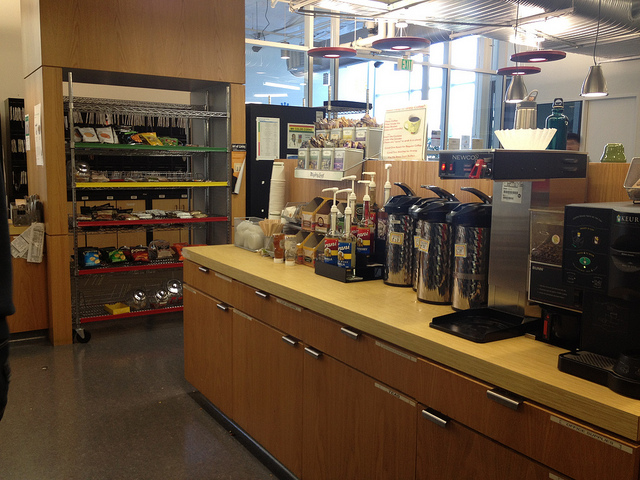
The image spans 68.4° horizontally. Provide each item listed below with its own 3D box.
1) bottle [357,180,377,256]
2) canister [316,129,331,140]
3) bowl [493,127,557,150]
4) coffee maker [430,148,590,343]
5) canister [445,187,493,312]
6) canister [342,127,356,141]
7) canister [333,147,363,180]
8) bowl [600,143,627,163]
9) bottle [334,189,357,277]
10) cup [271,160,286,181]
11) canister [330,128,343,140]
[{"bbox_3d":[0.260,-0.085,2.629,0.098,0.334,0.236,2,10,11],"label":"bottle"},{"bbox_3d":[0.018,-0.727,3.216,0.078,0.074,0.078,2,4,23],"label":"canister"},{"bbox_3d":[0.833,-0.414,1.921,0.214,0.092,0.272,5,11,23],"label":"bowl"},{"bbox_3d":[0.783,-0.006,1.959,0.534,0.721,0.384,-1,5,-16],"label":"coffee maker"},{"bbox_3d":[0.710,0.046,2.106,0.304,0.537,0.193,0,4,-9],"label":"canister"},{"bbox_3d":[0.188,-0.686,3.054,0.029,0.084,0.116,-8,13,-38],"label":"canister"},{"bbox_3d":[0.165,-0.494,3.031,0.170,0.179,0.206,-3,11,-40],"label":"canister"},{"bbox_3d":[1.320,-0.392,2.111,0.090,0.085,0.296,6,12,30],"label":"bowl"},{"bbox_3d":[0.146,0.005,2.553,0.113,0.365,0.160,-2,10,-11],"label":"bottle"},{"bbox_3d":[-0.305,-0.550,3.686,0.143,0.204,0.142,0,6,0],"label":"cup"},{"bbox_3d":[0.104,-0.701,3.109,0.069,0.065,0.068,1,4,11],"label":"canister"}]
